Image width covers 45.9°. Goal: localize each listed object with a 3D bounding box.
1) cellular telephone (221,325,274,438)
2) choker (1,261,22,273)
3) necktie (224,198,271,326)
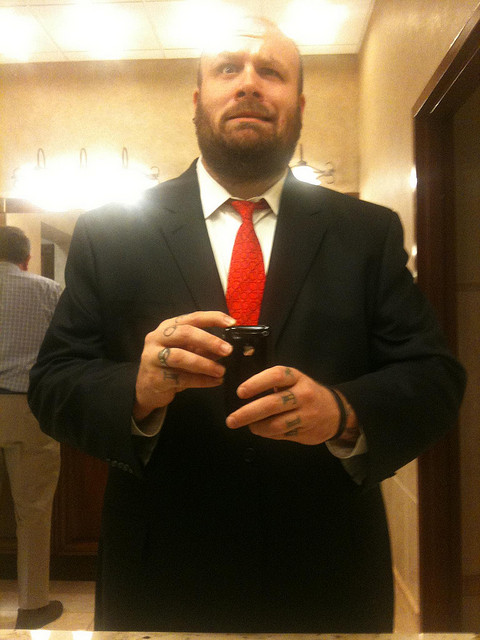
[{"bbox_3d":[0.009,0.064,0.733,0.064,0.119,0.070,-1,9,-1],"label":"cellular telephone"},{"bbox_3d":[-0.392,-0.090,0.967,0.035,0.017,0.010,1,9,11],"label":"choker"},{"bbox_3d":[0.012,-0.092,0.869,0.072,0.190,0.082,-1,9,-1],"label":"necktie"}]
